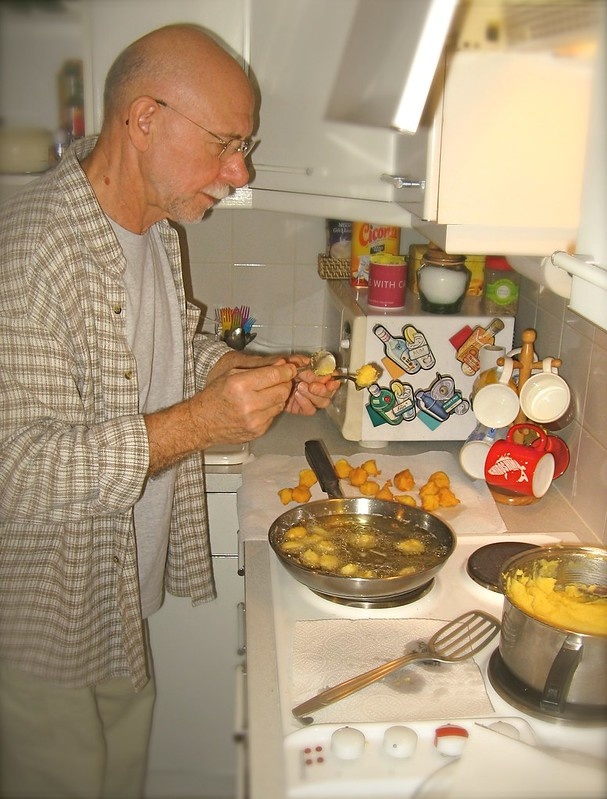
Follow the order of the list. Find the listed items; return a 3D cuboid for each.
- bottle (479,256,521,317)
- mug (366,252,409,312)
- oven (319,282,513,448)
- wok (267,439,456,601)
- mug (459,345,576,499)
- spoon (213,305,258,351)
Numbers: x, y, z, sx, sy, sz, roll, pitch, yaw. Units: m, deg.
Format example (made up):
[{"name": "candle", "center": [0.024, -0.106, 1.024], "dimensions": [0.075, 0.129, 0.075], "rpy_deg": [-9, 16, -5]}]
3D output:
[{"name": "bottle", "center": [0.519, -0.299, 1.751], "dimensions": [0.125, 0.158, 0.115], "rpy_deg": [3, 3, 0]}, {"name": "mug", "center": [0.215, -0.319, 1.755], "dimensions": [0.148, 0.153, 0.154], "rpy_deg": [1, 22, 4]}, {"name": "oven", "center": [0.289, -0.066, 1.778], "dimensions": [0.402, 0.310, 0.509], "rpy_deg": [-2, 18, -4]}, {"name": "wok", "center": [0.088, 0.205, 1.208], "dimensions": [0.292, 0.065, 0.470], "rpy_deg": [-6, 22, -9]}, {"name": "mug", "center": [0.478, 0.033, 1.435], "dimensions": [0.237, 0.384, 0.223], "rpy_deg": [12, 19, 43]}, {"name": "spoon", "center": [-0.220, -0.245, 2.162], "dimensions": [0.137, 0.171, 0.049], "rpy_deg": [-3, -20, -23]}]
